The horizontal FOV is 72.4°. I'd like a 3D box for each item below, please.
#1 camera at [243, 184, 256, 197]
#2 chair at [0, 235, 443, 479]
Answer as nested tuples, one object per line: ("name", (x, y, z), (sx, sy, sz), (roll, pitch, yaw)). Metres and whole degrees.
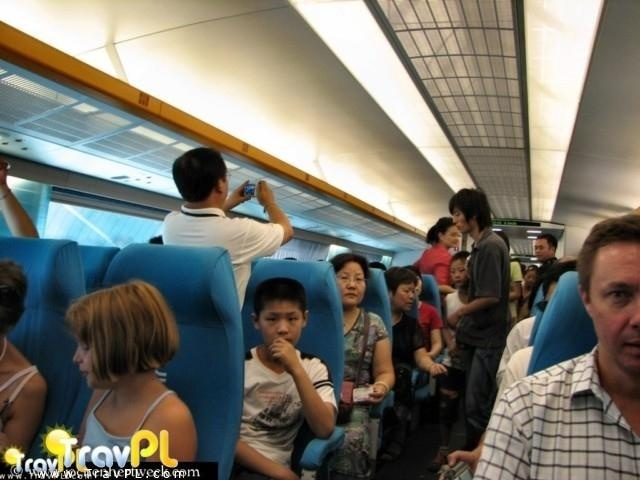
("camera", (-0.557, -0.394, 3.410), (0.097, 0.102, 0.032), (-1, -1, -43))
("chair", (-0.549, 0.559, 2.358), (1.035, 1.125, 1.569), (-1, -5, 33))
